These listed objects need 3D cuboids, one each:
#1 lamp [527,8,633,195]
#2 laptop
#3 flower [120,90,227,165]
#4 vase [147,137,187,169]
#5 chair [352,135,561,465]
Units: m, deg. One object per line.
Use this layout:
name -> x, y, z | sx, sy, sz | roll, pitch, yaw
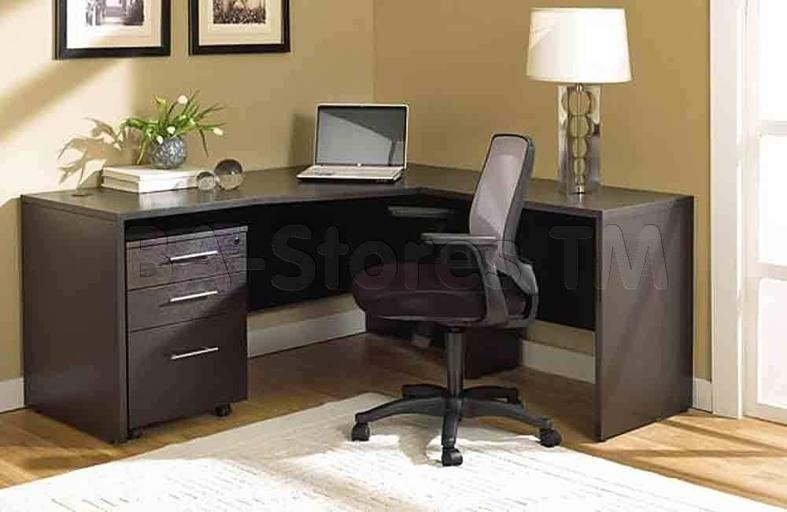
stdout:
lamp -> 0.900, -0.772, 3.578 | 0.434, 0.898, 0.327 | -1, 12, -17
laptop -> -0.208, -0.682, 4.203 | 0.636, 0.425, 0.484 | 2, 12, 10
flower -> -1.197, -0.684, 3.828 | 0.455, 0.306, 0.450 | -1, 9, -14
vase -> -1.193, -0.535, 3.731 | 0.175, 0.143, 0.174 | -1, 8, -15
chair -> 0.325, 0.148, 3.450 | 1.005, 1.415, 1.066 | 8, 11, 40
